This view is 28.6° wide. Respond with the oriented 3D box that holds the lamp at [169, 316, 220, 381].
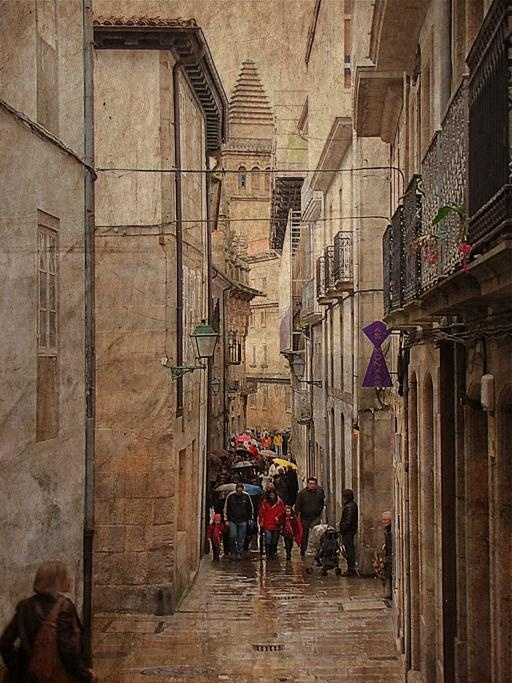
[{"bbox_3d":[-0.883,0.031,14.432,0.599,0.431,1.280,-4,-52,-8],"label":"lamp"}]
